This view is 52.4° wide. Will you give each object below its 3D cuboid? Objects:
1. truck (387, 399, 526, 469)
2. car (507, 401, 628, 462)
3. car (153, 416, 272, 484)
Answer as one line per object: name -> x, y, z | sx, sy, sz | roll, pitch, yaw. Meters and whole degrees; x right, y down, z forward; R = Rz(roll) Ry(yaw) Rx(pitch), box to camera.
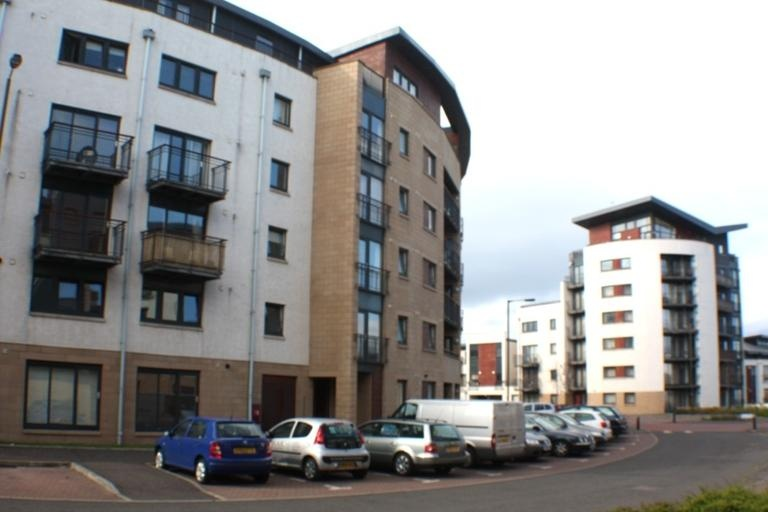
truck -> 3.012, 7.536, 33.392 | 5.029, 2.058, 2.819 | -3, -11, 32
car -> 8.852, 8.588, 37.417 | 4.686, 1.653, 2.209 | -9, -11, 31
car -> -6.048, 6.816, 27.598 | 3.830, 2.260, 1.616 | -11, -19, 29
